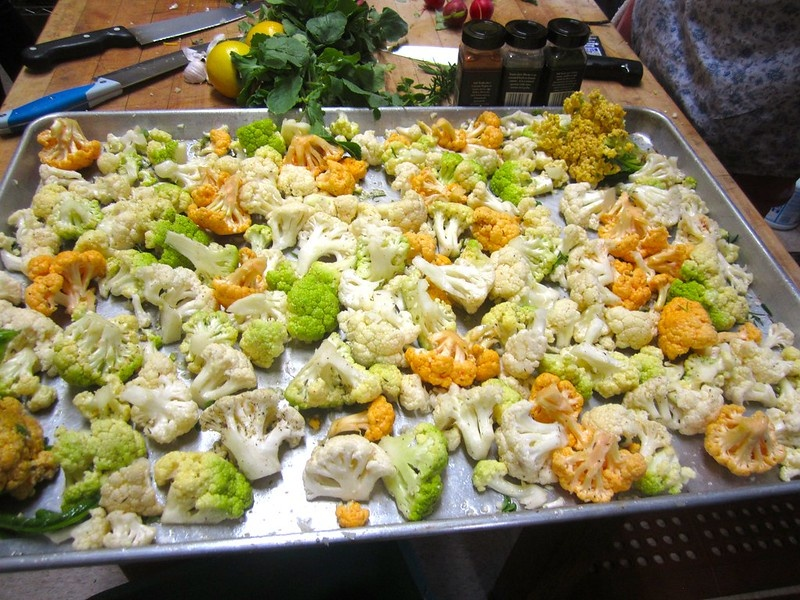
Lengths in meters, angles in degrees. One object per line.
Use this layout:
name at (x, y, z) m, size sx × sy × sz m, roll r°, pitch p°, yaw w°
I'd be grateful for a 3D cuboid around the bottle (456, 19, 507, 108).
bottle at (0.416, -1.263, 3.381) m, size 0.231 × 0.400 × 0.218 m, roll 4°, pitch 33°, yaw -2°

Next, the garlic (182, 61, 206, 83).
garlic at (-1.183, -1.311, 3.526) m, size 0.133 × 0.103 × 0.115 m, roll -13°, pitch 100°, yaw -37°
